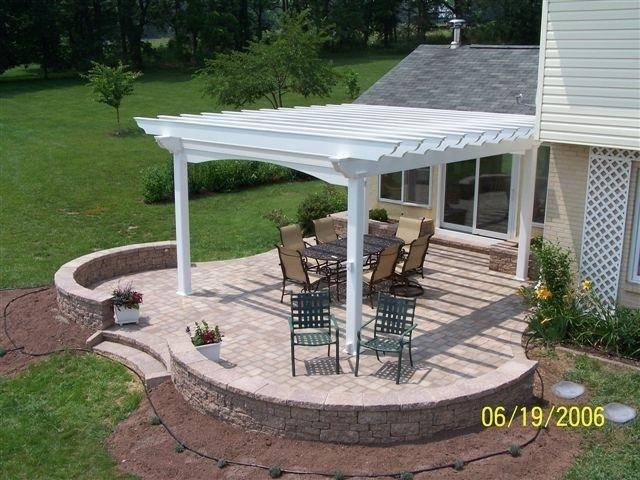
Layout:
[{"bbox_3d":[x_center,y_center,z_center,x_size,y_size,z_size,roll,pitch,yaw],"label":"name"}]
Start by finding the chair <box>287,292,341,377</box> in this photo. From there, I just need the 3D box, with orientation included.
[{"bbox_3d":[-0.126,1.630,9.720,0.910,1.224,0.957,-1,11,-1],"label":"chair"}]

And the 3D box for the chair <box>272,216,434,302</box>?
[{"bbox_3d":[0.536,0.355,13.056,2.528,1.237,2.244,10,18,35],"label":"chair"}]

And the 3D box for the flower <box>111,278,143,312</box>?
[{"bbox_3d":[-3.994,1.209,11.655,0.721,0.481,0.719,-1,14,-6],"label":"flower"}]

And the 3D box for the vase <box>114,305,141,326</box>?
[{"bbox_3d":[-3.922,1.545,11.369,0.559,0.386,0.402,-4,10,-26],"label":"vase"}]

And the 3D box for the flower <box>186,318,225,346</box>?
[{"bbox_3d":[-1.998,1.757,10.007,0.680,0.305,0.621,7,22,2],"label":"flower"}]

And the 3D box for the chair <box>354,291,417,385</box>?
[{"bbox_3d":[1.157,1.601,9.932,0.966,1.182,2.134,1,21,8],"label":"chair"}]
